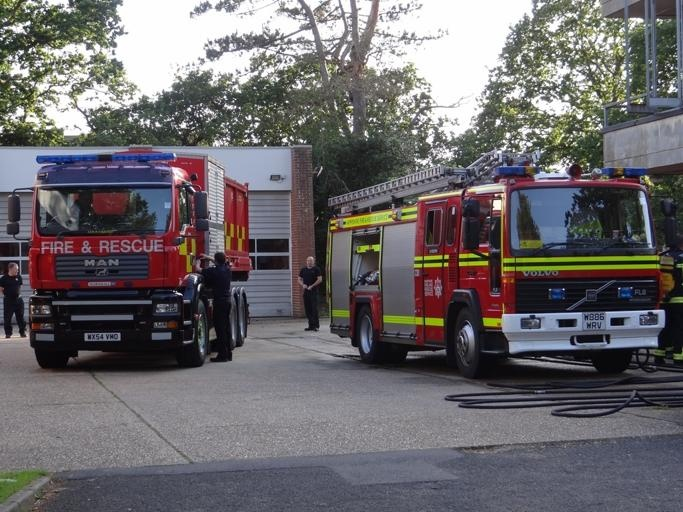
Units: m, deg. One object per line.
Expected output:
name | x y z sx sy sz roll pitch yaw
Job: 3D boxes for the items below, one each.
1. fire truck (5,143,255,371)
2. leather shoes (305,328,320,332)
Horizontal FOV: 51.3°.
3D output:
fire truck | -3.697 -0.060 14.711 2.577 3.721 4.782 -2 2 34
leather shoes | -0.942 2.445 23.561 0.425 0.193 0.144 7 -8 -34
